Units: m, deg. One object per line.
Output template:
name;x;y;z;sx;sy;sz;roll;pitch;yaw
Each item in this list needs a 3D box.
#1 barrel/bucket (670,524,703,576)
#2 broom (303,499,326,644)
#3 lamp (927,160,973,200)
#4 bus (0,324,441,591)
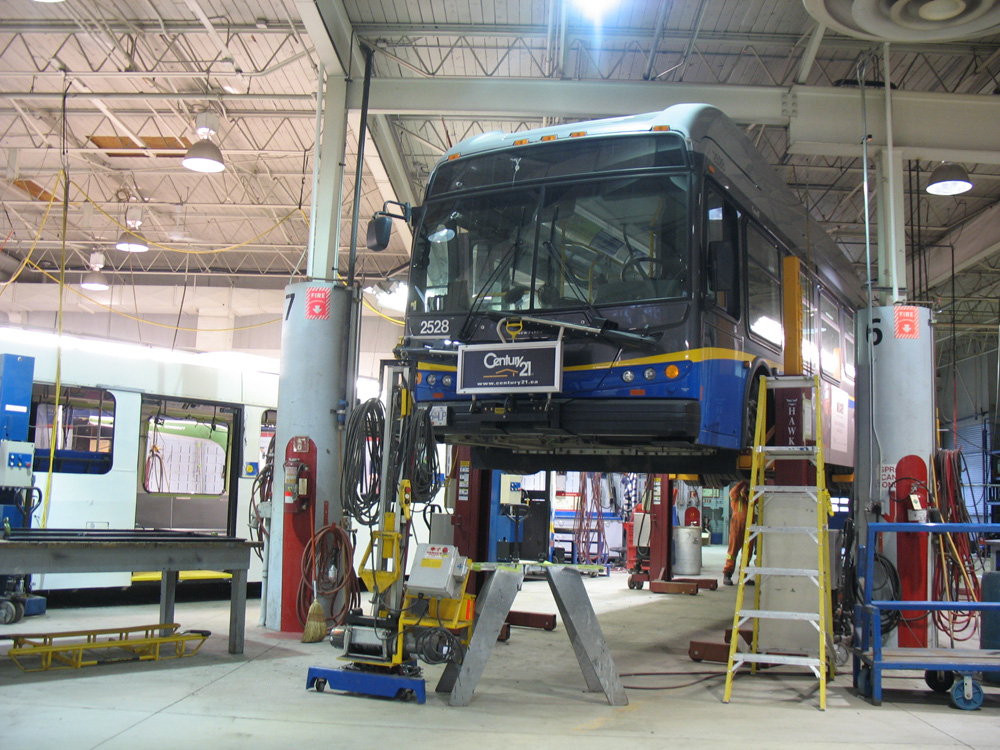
barrel/bucket;4.182;3.950;20.015;0.764;1.096;0.551;2;-9;-11
broom;-2.258;2.596;11.008;0.297;1.318;0.490;2;-9;-11
lamp;7.546;-3.361;15.115;0.606;0.529;0.762;-5;-11;26
bus;-5.353;1.412;15.736;3.007;4.415;8.331;-1;-4;26
